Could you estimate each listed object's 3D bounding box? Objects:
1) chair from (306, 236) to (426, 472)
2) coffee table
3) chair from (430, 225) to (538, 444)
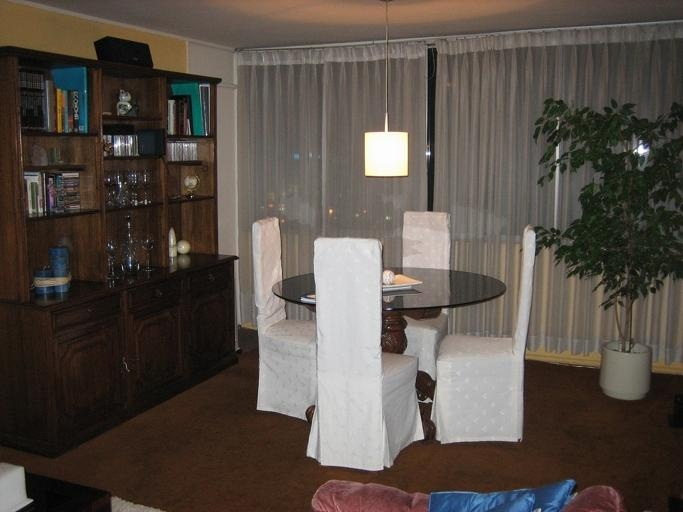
[{"bbox_3d":[0.146,0.616,3.614,0.748,1.499,0.386,-1,11,-6],"label":"chair"},{"bbox_3d":[0.357,0.673,4.180,1.219,0.826,1.261,-4,7,-28],"label":"coffee table"},{"bbox_3d":[1.007,0.541,3.943,0.682,1.511,0.444,2,11,10],"label":"chair"}]
